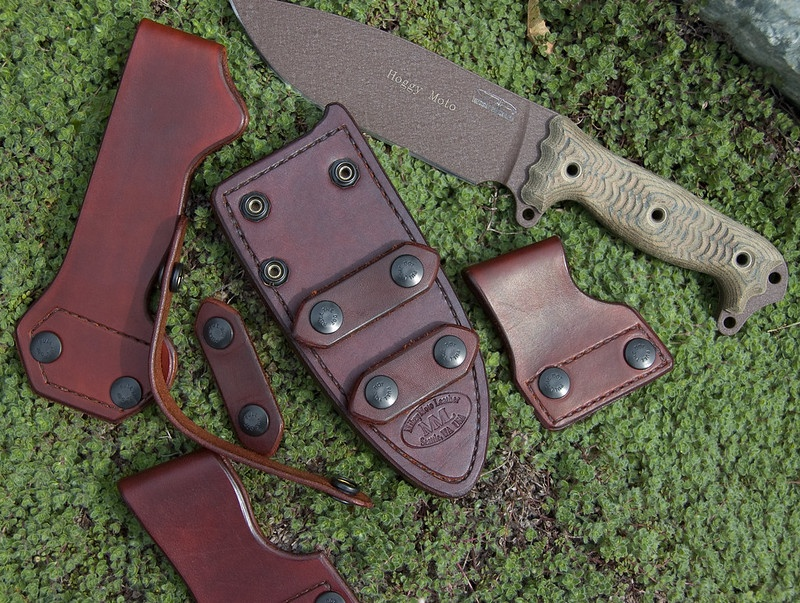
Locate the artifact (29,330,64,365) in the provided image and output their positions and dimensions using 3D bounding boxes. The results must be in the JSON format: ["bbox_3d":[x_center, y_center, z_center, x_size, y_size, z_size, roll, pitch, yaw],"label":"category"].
[{"bbox_3d":[-1.316,0.169,3.059,0.102,0.026,0.116,32,95,2],"label":"artifact"}]

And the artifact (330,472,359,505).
[{"bbox_3d":[-0.198,0.669,2.985,0.090,0.090,0.061,35,77,-22],"label":"artifact"}]

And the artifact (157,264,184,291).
[{"bbox_3d":[-0.859,-0.095,3.054,0.088,0.094,0.115,9,94,2],"label":"artifact"}]
